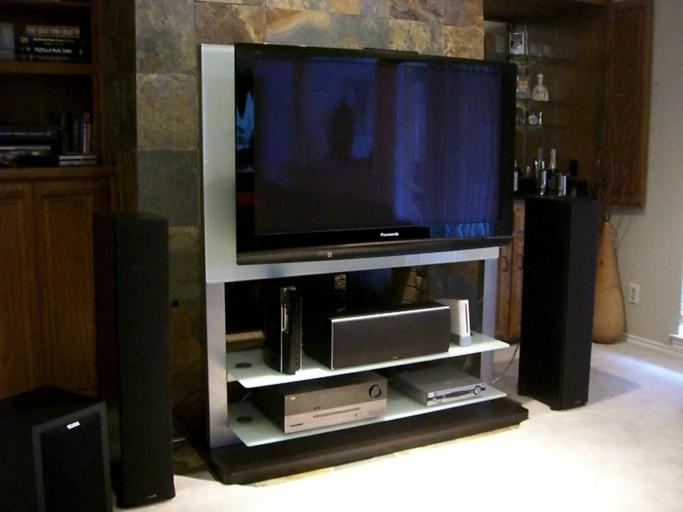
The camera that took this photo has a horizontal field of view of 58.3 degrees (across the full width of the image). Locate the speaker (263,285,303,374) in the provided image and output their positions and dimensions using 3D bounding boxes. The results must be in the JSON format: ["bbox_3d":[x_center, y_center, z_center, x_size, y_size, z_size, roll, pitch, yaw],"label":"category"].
[{"bbox_3d":[-0.308,0.343,2.999,0.246,0.405,0.116,12,16,40],"label":"speaker"}]

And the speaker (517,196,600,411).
[{"bbox_3d":[1.241,0.269,3.532,0.425,1.198,0.273,5,13,18],"label":"speaker"}]

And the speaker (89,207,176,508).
[{"bbox_3d":[-0.921,0.433,2.747,0.333,1.236,0.456,-5,14,-24],"label":"speaker"}]

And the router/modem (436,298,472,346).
[{"bbox_3d":[0.647,0.333,3.417,0.207,0.235,0.221,-5,10,-16],"label":"router/modem"}]
